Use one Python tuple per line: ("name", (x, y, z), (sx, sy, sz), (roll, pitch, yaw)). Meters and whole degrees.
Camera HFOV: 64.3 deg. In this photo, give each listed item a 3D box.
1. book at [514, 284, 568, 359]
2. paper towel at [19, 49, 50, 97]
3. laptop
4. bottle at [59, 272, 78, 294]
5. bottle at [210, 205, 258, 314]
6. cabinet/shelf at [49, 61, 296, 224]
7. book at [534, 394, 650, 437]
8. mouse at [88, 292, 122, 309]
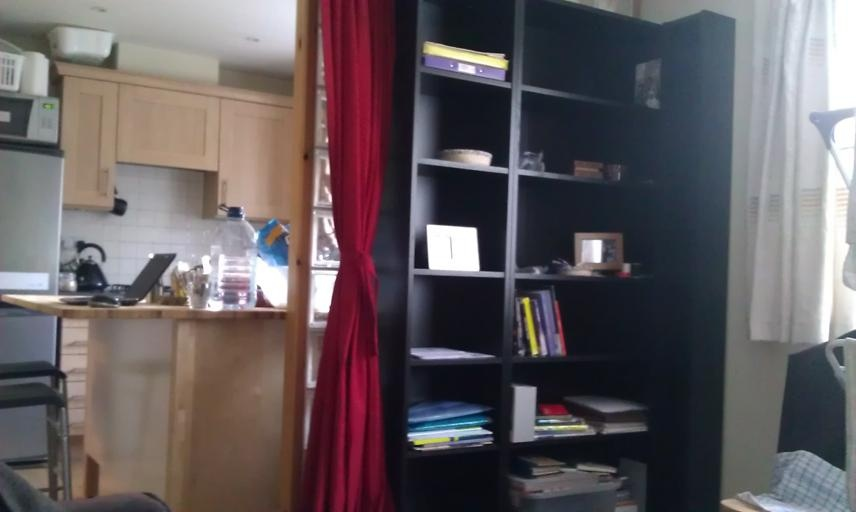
("book", (0.657, 0.387, 4.028), (0.472, 0.444, 0.258), (-3, 0, -40))
("paper towel", (-3.036, -1.392, 5.277), (0.216, 0.284, 0.193), (1, -3, -29))
("laptop", (-1.762, 0.161, 3.935), (0.467, 0.276, 0.477), (12, -6, -34))
("bottle", (-2.897, 0.210, 5.474), (0.135, 0.165, 0.183), (2, 1, 45))
("bottle", (-1.129, 0.005, 3.958), (0.246, 0.585, 0.243), (-1, -1, 0))
("cabinet/shelf", (-2.291, -0.971, 5.889), (1.755, 0.862, 0.391), (2, -2, -27))
("book", (0.998, 0.960, 4.064), (0.349, 0.076, 0.337), (1, -1, -30))
("mouse", (-1.768, 0.242, 3.727), (0.156, 0.062, 0.331), (0, -1, -24))
